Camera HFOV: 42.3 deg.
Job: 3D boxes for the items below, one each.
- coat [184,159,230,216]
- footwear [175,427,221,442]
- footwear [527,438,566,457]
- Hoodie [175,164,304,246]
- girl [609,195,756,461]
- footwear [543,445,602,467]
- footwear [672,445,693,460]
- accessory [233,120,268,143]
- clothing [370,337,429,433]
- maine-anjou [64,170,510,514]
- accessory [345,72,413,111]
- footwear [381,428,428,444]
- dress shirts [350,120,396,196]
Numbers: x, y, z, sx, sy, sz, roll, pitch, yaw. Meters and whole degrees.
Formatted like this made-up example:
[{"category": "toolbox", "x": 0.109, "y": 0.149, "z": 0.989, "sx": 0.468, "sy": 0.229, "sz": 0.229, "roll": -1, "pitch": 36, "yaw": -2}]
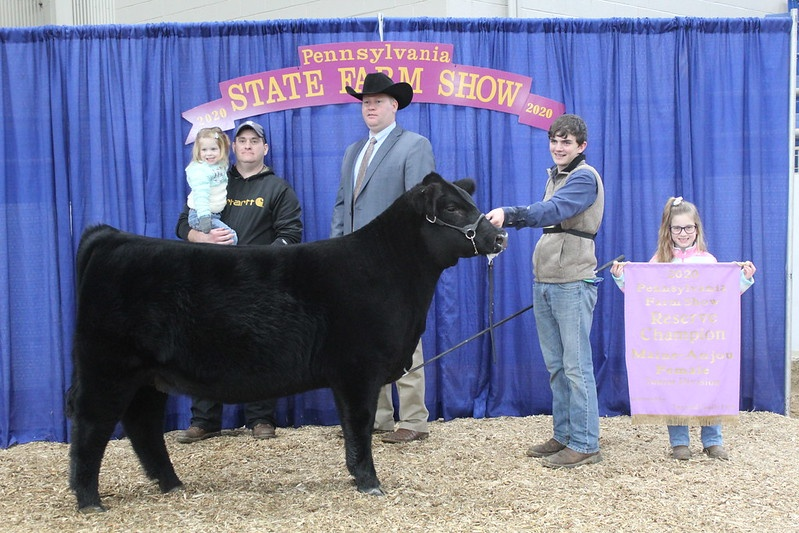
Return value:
[{"category": "coat", "x": -1.630, "y": -0.673, "z": 8.784, "sx": 0.254, "sy": 0.412, "sz": 0.426, "roll": -4, "pitch": 9, "yaw": 18}, {"category": "footwear", "x": -1.788, "y": 1.482, "z": 9.154, "sx": 0.376, "sy": 0.157, "sz": 0.126, "roll": 8, "pitch": -9, "yaw": -35}, {"category": "footwear", "x": 1.221, "y": 1.518, "z": 8.686, "sx": 0.347, "sy": 0.146, "sz": 0.132, "roll": 1, "pitch": 0, "yaw": -12}, {"category": "Hoodie", "x": -1.423, "y": -0.468, "z": 9.142, "sx": 1.067, "sy": 0.926, "sz": 0.609, "roll": 6, "pitch": 6, "yaw": 12}, {"category": "girl", "x": 2.455, "y": 0.479, "z": 9.005, "sx": 1.022, "sy": 2.232, "sz": 0.623, "roll": -2, "pitch": 25, "yaw": 14}, {"category": "footwear", "x": 1.422, "y": 1.559, "z": 8.495, "sx": 0.460, "sy": 0.161, "sz": 0.174, "roll": 2, "pitch": -3, "yaw": -12}, {"category": "footwear", "x": 2.350, "y": 1.540, "z": 8.575, "sx": 0.177, "sy": 0.100, "sz": 0.136, "roll": -2, "pitch": 3, "yaw": 0}, {"category": "accessory", "x": -1.312, "y": -1.188, "z": 9.066, "sx": 0.254, "sy": 0.170, "sz": 0.167, "roll": -2, "pitch": 3, "yaw": -10}, {"category": "clothing", "x": -0.019, "y": 0.964, "z": 9.219, "sx": 0.334, "sy": 0.815, "sz": 0.803, "roll": 7, "pitch": -11, "yaw": -15}, {"category": "maine-anjou", "x": -1.034, "y": 0.589, "z": 8.227, "sx": 2.466, "sy": 1.851, "sz": 0.752, "roll": -1, "pitch": -11, "yaw": -5}, {"category": "accessory", "x": -0.173, "y": -1.520, "z": 8.838, "sx": 0.567, "sy": 0.307, "sz": 0.301, "roll": -2, "pitch": 3, "yaw": -12}, {"category": "footwear", "x": 0.031, "y": 1.490, "z": 9.019, "sx": 0.353, "sy": 0.148, "sz": 0.143, "roll": 8, "pitch": -12, "yaw": -24}, {"category": "dress shirts", "x": -0.261, "y": -0.954, "z": 8.926, "sx": 0.124, "sy": 0.608, "sz": 0.399, "roll": 20, "pitch": 5, "yaw": -37}]
